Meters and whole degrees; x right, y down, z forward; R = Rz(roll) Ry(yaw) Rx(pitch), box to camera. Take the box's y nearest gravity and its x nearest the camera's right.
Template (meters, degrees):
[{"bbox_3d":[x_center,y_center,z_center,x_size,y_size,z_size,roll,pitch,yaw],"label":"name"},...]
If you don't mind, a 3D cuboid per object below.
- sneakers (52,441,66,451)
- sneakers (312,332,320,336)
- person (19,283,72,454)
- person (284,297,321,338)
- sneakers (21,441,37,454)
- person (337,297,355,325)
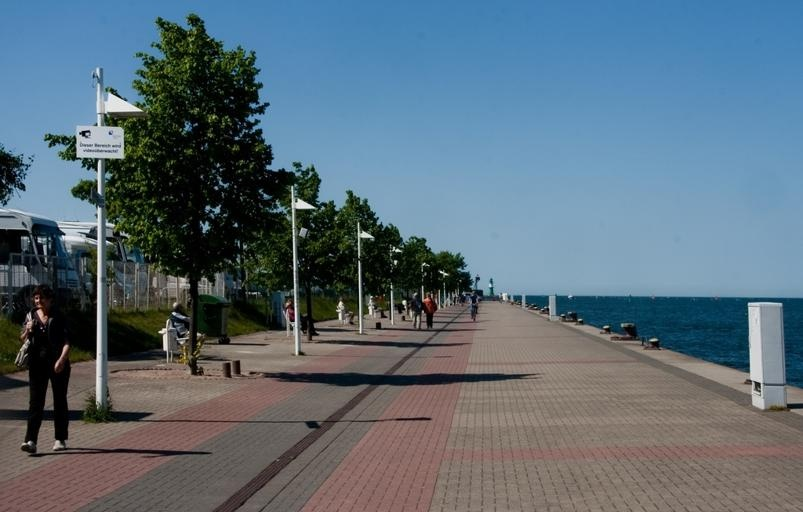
[{"bbox_3d":[-5.966,3.336,15.075,0.108,0.126,0.283,2,0,3],"label":"sneakers"},{"bbox_3d":[-3.903,3.592,39.194,0.224,0.097,0.301,-1,-4,22],"label":"sneakers"},{"bbox_3d":[-6.180,1.987,15.024,0.748,2.901,0.781,1,-3,-22],"label":"person"},{"bbox_3d":[-4.285,2.664,36.813,1.301,1.626,0.683,-8,8,-21],"label":"person"},{"bbox_3d":[-6.403,3.309,14.880,0.252,0.244,0.307,2,-4,-24],"label":"sneakers"},{"bbox_3d":[-3.272,3.306,50.872,0.852,1.530,2.333,0,-4,-7],"label":"person"}]
